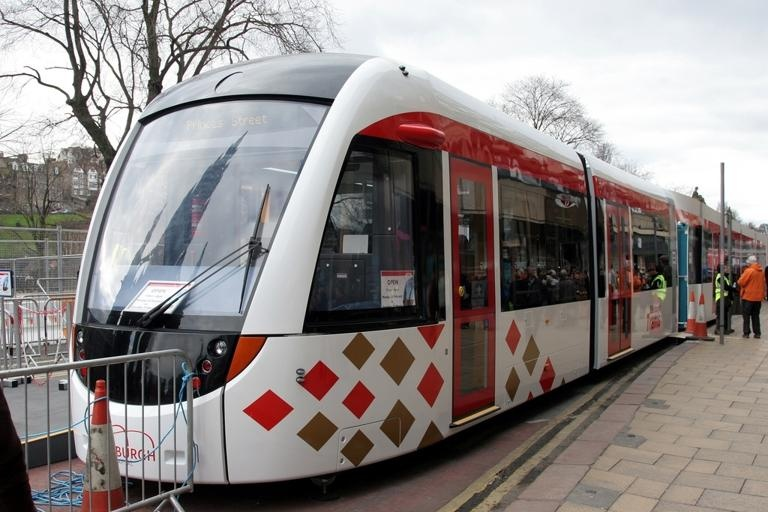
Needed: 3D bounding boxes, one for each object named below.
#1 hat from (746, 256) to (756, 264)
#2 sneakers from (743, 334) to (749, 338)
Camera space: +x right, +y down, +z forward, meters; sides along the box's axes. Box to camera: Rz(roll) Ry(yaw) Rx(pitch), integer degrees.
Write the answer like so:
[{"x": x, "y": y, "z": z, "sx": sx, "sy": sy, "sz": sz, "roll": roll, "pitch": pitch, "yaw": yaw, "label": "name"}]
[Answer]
[{"x": 9.911, "y": 0.092, "z": 16.972, "sx": 0.166, "sy": 0.246, "sz": 0.240, "roll": 5, "pitch": -28, "yaw": 12, "label": "hat"}, {"x": 9.092, "y": 1.996, "z": 15.809, "sx": 0.053, "sy": 0.068, "sz": 0.166, "roll": -4, "pitch": 1, "yaw": -7, "label": "sneakers"}]
